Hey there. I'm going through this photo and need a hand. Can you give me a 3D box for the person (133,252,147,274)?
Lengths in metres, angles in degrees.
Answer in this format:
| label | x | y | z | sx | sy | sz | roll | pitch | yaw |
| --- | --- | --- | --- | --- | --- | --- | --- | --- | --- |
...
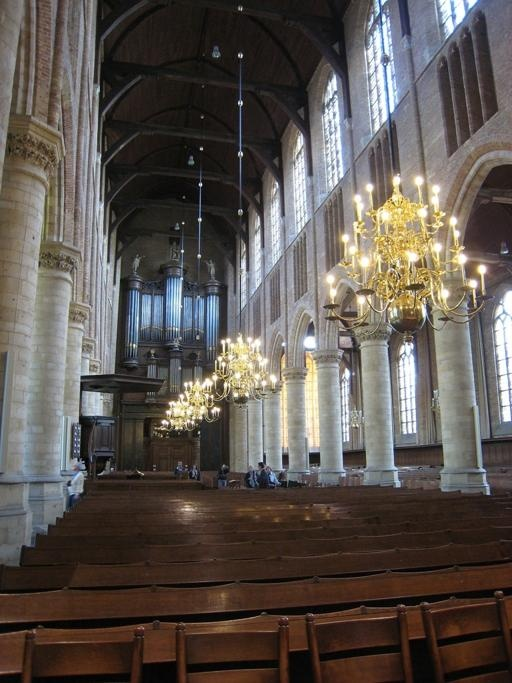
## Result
| label | x | y | z | sx | sy | sz | roll | pitch | yaw |
| --- | --- | --- | --- | --- | --- | --- | --- | --- | --- |
| person | -6.974 | -4.490 | 33.000 | 0.606 | 1.401 | 1.211 | -3 | -8 | 9 |
